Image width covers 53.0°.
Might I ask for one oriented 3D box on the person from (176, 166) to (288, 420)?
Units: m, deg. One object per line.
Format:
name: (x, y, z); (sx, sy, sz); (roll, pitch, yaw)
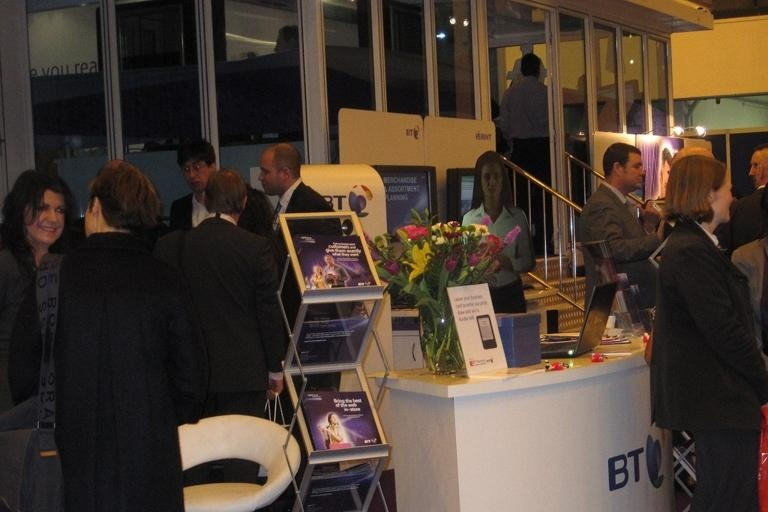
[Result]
person: (-0.949, 0.251, 4.780); (0.619, 1.555, 0.361); (-5, 6, -17)

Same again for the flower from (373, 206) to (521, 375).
flower: (0.373, 0.243, 4.388); (0.631, 0.768, 0.695); (-4, -3, -8)
